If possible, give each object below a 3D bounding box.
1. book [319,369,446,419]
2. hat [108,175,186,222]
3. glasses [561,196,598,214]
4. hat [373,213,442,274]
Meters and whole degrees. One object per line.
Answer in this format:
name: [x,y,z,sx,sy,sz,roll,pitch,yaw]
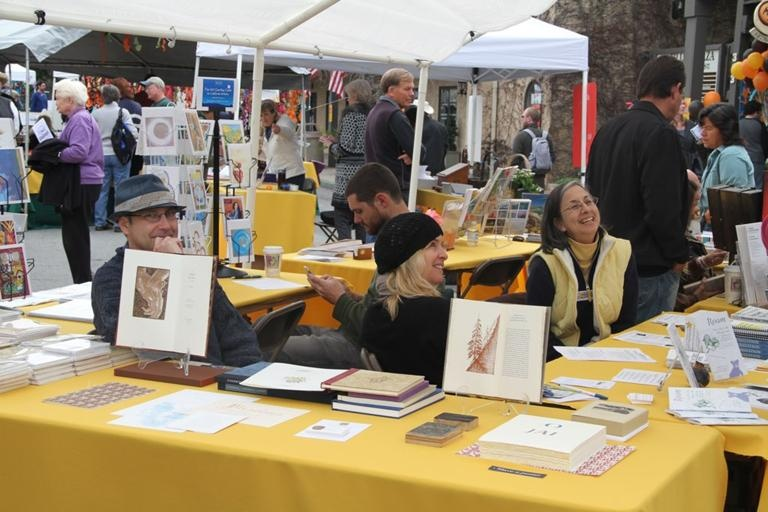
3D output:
book: [-0.032,0.509,2.241,0.204,0.052,0.223,6,10,33]
hat: [-1.201,-0.285,3.019,0.274,0.100,0.225,-11,2,21]
glasses: [1.154,-0.301,3.551,0.127,0.040,0.123,-5,-18,-18]
hat: [0.092,-0.084,3.056,0.322,0.195,0.302,-20,3,-2]
